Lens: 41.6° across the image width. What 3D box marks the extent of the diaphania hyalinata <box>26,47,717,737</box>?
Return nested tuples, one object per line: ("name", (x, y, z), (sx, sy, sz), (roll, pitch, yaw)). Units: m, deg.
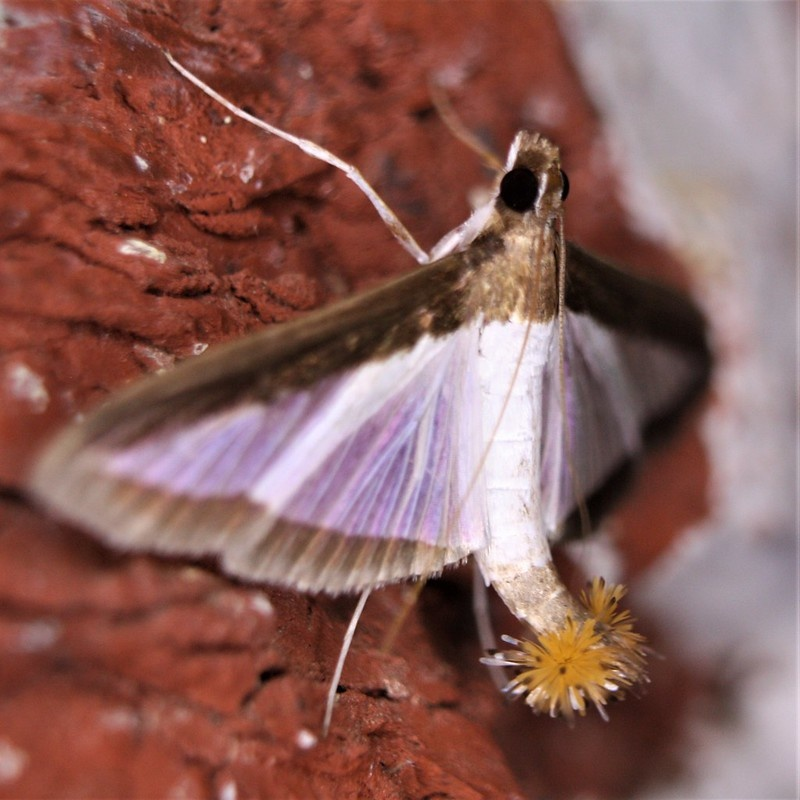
("diaphania hyalinata", (-0.153, 0.049, 1.726), (0.983, 0.864, 0.953), (16, 64, -34))
